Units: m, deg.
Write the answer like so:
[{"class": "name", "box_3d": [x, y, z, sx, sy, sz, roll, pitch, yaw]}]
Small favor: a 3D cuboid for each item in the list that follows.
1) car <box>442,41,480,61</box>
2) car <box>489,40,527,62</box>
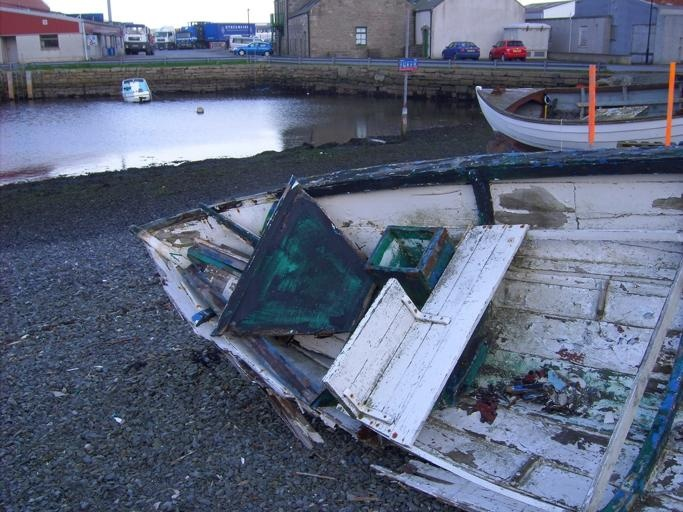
[{"class": "car", "box_3d": [6.820, -11.721, 28.037, 1.944, 1.057, 1.100, 7, 21, 24]}, {"class": "car", "box_3d": [9.014, -11.078, 26.473, 1.076, 1.128, 1.842, -16, 23, -34]}]
